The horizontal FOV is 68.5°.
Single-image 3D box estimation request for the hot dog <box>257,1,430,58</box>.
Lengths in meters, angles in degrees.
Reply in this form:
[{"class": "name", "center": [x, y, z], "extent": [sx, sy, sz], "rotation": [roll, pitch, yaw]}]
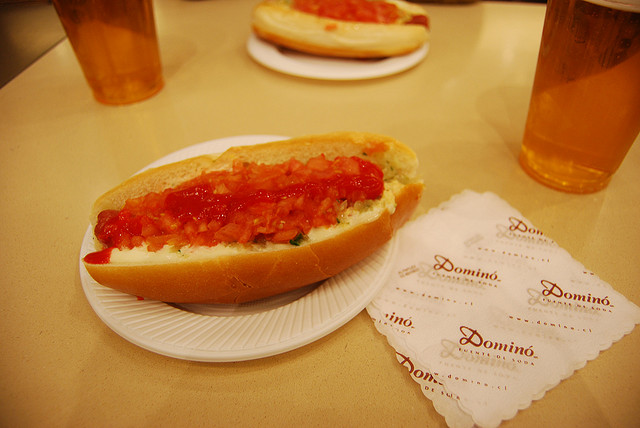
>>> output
[{"class": "hot dog", "center": [0.125, -0.872, 2.187], "extent": [0.681, 0.196, 0.327], "rotation": [2, 50, 2]}]
